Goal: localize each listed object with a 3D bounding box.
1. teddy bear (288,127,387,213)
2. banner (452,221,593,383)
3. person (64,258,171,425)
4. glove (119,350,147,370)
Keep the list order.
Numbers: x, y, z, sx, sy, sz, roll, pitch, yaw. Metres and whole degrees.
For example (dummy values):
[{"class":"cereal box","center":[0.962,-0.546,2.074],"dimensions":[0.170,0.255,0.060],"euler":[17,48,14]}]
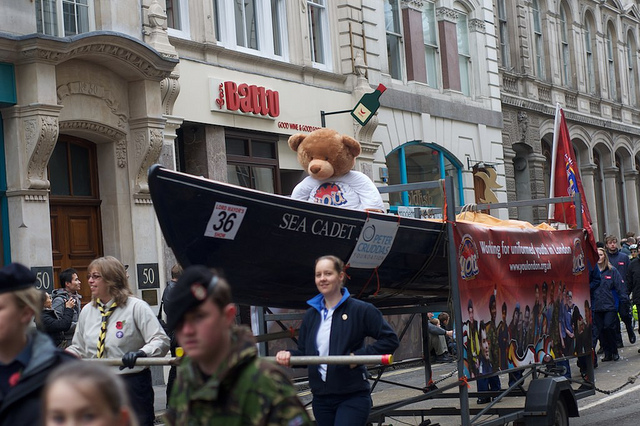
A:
[{"class":"teddy bear","center":[0.197,-0.370,14.539],"dimensions":[1.733,1.844,0.947],"euler":[3,12,28]},{"class":"banner","center":[2.986,1.195,14.106],"dimensions":[3.451,2.050,0.081],"euler":[2,-7,-45]},{"class":"person","center":[-2.358,1.425,11.671],"dimensions":[0.944,2.640,1.016],"euler":[-1,-2,29]},{"class":"glove","center":[-2.142,1.670,11.227],"dimensions":[0.225,0.191,0.436],"euler":[0,-6,4]}]
